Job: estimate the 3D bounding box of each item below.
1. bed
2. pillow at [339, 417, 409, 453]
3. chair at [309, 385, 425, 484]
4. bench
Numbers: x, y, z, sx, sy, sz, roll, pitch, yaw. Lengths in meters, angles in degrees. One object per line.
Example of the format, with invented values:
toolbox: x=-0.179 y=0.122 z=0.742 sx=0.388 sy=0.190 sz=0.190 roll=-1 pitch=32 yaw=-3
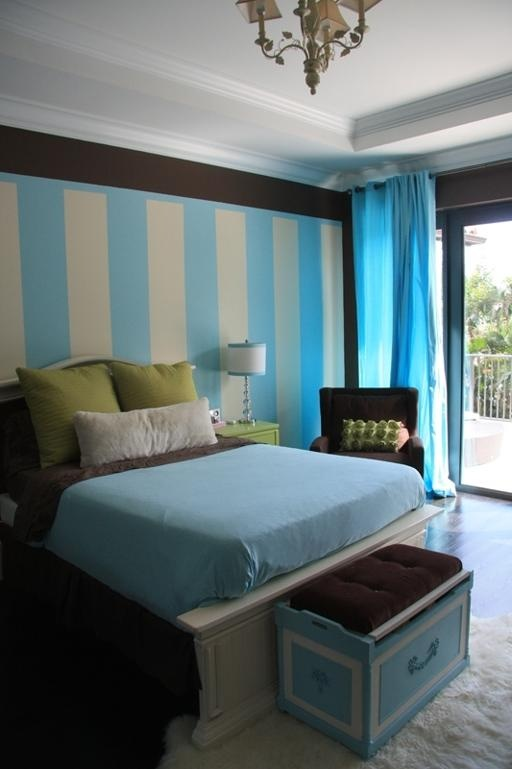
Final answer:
bed: x=-0.341 y=0.405 z=2.055 sx=1.016 sy=0.427 sz=1.036 roll=4 pitch=9 yaw=45
pillow: x=0.863 y=0.386 z=4.052 sx=0.372 sy=0.272 sz=0.112 roll=1 pitch=-18 yaw=15
chair: x=0.839 y=0.304 z=4.191 sx=0.731 sy=0.977 sz=0.636 roll=0 pitch=-8 yaw=13
bench: x=0.362 y=0.642 z=1.764 sx=0.388 sy=0.490 sz=0.706 roll=1 pitch=5 yaw=40
